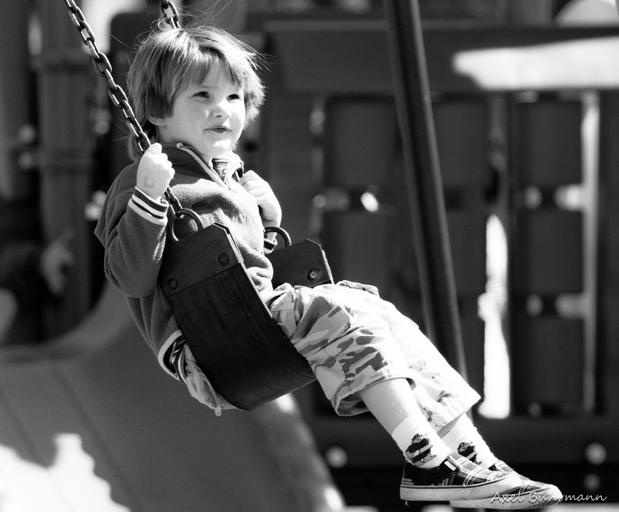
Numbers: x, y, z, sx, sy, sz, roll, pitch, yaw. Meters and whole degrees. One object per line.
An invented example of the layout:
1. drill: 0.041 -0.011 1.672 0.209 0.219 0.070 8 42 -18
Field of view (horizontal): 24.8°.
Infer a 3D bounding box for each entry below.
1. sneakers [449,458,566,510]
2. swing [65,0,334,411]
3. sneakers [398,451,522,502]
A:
1. sneakers: 0.414 0.504 3.087 0.270 0.102 0.095 -4 -4 -4
2. swing: -0.227 -0.117 3.164 0.530 0.919 0.249 -6 0 -6
3. sneakers: 0.322 0.483 3.106 0.284 0.110 0.102 -3 -6 3
